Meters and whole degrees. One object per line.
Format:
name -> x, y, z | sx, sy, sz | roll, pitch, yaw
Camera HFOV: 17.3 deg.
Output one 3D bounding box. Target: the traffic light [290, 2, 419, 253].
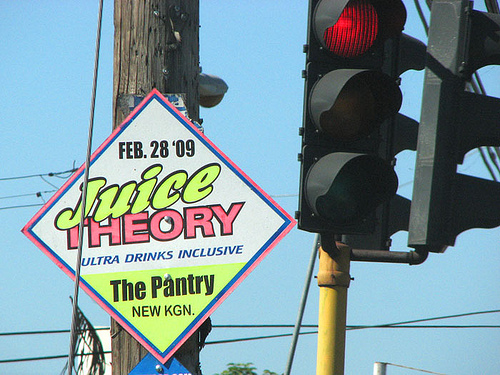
traffic light -> 0.761, -0.442, 11.558 | 0.806, 1.679, 0.775 | 2, -11, 3
